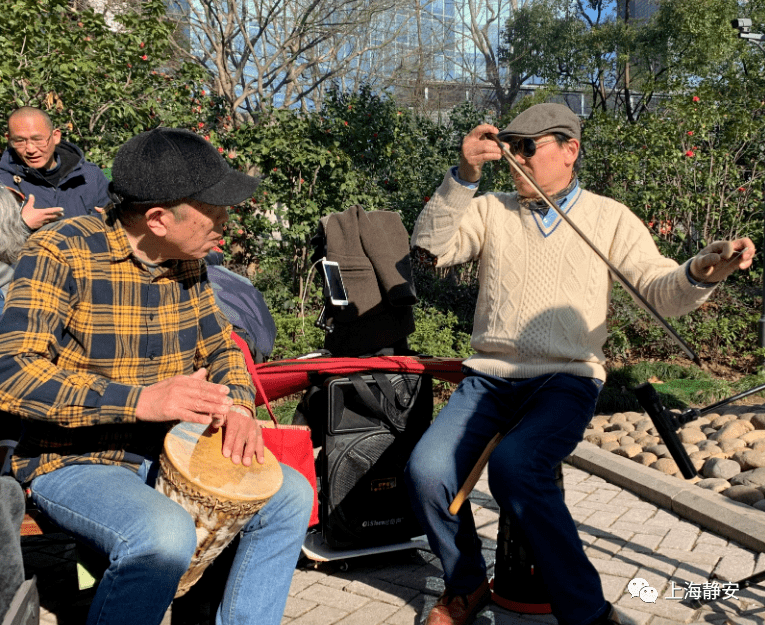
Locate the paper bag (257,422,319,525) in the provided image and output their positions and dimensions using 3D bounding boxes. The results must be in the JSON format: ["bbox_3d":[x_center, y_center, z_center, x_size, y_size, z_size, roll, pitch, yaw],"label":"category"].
[{"bbox_3d":[-0.447,0.739,3.634,0.368,0.487,0.128,3,-4,-33],"label":"paper bag"}]

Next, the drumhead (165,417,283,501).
[{"bbox_3d":[-0.582,0.523,2.842,0.321,0.215,0.285,23,20,-24],"label":"drumhead"}]

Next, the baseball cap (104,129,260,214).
[{"bbox_3d":[-0.784,-0.587,3.076,0.585,0.301,0.421,-7,19,-1],"label":"baseball cap"}]

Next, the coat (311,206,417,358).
[{"bbox_3d":[-0.100,-0.205,5.066,0.581,1.014,1.027,4,-8,-9],"label":"coat"}]

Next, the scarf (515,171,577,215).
[{"bbox_3d":[0.817,-0.569,3.690,0.204,0.077,0.170,-20,12,-15],"label":"scarf"}]

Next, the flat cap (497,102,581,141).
[{"bbox_3d":[0.753,-0.873,3.633,0.286,0.138,0.211,2,2,-9],"label":"flat cap"}]

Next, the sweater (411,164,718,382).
[{"bbox_3d":[0.874,-0.191,3.713,1.408,1.101,0.622,5,-8,19],"label":"sweater"}]

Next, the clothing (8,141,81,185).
[{"bbox_3d":[-2.340,-0.994,5.310,0.318,0.242,0.427,-4,-1,6],"label":"clothing"}]

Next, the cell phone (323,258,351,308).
[{"bbox_3d":[-0.282,-0.170,4.595,0.153,0.292,0.181,-3,11,-5],"label":"cell phone"}]
